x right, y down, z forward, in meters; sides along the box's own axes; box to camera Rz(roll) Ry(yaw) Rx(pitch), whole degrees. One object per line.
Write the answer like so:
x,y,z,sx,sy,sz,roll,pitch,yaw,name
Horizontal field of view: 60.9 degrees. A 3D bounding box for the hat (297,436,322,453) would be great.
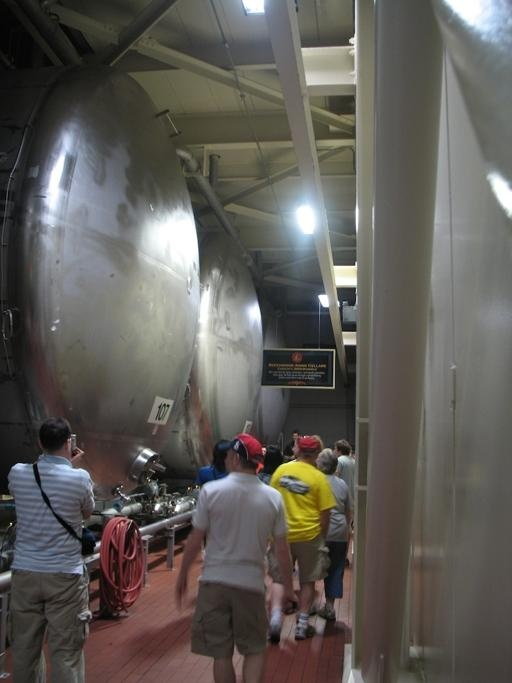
0.560,1.034,4.588,0.188,0.210,0.185,-5,-23,3,hat
